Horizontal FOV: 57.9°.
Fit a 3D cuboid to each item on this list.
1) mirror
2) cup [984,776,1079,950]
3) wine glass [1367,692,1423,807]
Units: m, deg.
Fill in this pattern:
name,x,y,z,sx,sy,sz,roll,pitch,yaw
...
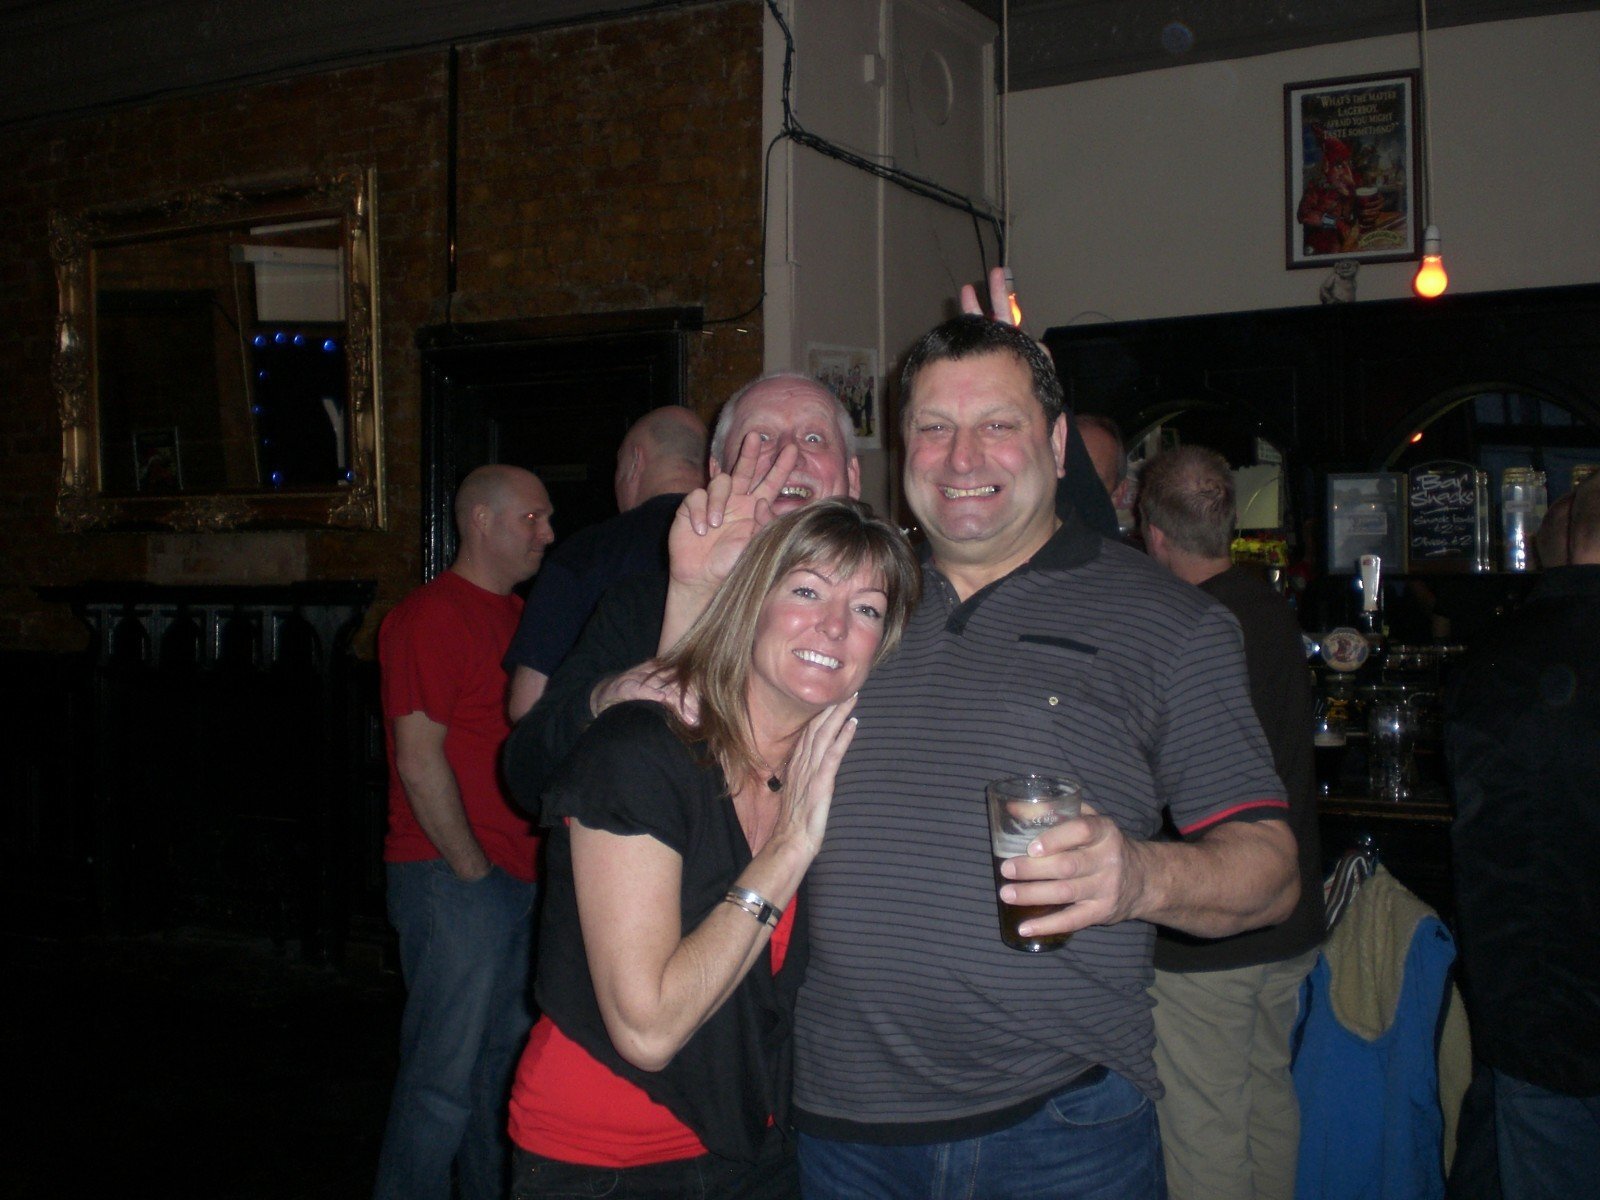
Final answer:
name,x,y,z,sx,sy,sz,roll,pitch,yaw
mirror,-2.776,-1.229,6.984,1.956,1.574,0.121,1,3,23
cup,0.542,0.622,3.277,0.215,0.443,0.210,-8,13,2
wine glass,2.181,0.537,5.322,0.157,0.369,0.397,-4,13,20
